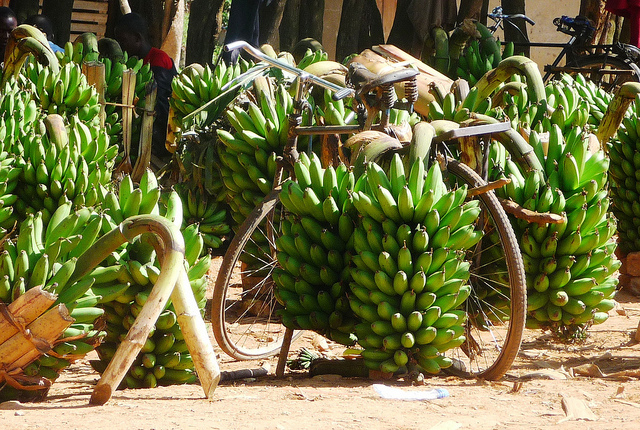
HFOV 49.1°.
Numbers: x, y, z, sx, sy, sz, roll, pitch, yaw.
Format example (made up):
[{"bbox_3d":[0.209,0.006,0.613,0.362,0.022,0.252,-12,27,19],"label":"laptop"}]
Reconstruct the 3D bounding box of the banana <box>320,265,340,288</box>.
[{"bbox_3d":[0.083,0.488,5.261,0.069,0.104,0.264,-31,-30,4],"label":"banana"}]

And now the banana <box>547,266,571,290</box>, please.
[{"bbox_3d":[1.838,0.497,5.397,0.081,0.112,0.305,-5,-14,5],"label":"banana"}]

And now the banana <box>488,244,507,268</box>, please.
[{"bbox_3d":[1.397,0.331,5.527,0.036,0.165,0.090,-20,9,-37],"label":"banana"}]

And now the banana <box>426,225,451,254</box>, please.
[{"bbox_3d":[0.826,0.178,4.968,0.091,0.276,0.091,2,49,-16],"label":"banana"}]

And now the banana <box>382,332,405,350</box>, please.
[{"bbox_3d":[0.517,0.893,4.924,0.063,0.088,0.160,16,10,40],"label":"banana"}]

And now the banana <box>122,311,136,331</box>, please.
[{"bbox_3d":[-1.318,0.744,4.844,0.077,0.156,0.112,1,9,-30],"label":"banana"}]

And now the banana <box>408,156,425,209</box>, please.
[{"bbox_3d":[0.677,-0.219,5.030,0.084,0.379,0.123,1,-8,-12],"label":"banana"}]

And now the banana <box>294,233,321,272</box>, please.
[{"bbox_3d":[-0.087,0.292,5.222,0.082,0.262,0.068,-26,-15,-30],"label":"banana"}]

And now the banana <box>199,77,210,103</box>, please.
[{"bbox_3d":[-1.292,-1.366,7.905,0.073,0.317,0.105,-6,-5,7],"label":"banana"}]

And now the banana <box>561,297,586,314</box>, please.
[{"bbox_3d":[1.954,0.710,5.460,0.097,0.076,0.222,26,-13,-13],"label":"banana"}]

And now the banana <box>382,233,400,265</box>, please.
[{"bbox_3d":[0.500,0.233,4.973,0.072,0.270,0.078,-24,17,1],"label":"banana"}]

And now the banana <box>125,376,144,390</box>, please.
[{"bbox_3d":[-1.290,1.172,4.896,0.062,0.128,0.057,-38,16,-19],"label":"banana"}]

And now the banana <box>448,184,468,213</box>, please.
[{"bbox_3d":[0.990,-0.122,5.042,0.071,0.217,0.062,32,31,15],"label":"banana"}]

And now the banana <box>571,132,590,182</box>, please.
[{"bbox_3d":[2.052,-0.448,5.562,0.087,0.382,0.143,0,22,14],"label":"banana"}]

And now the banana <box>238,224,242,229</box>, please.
[{"bbox_3d":[-0.858,0.134,7.534,0.018,0.068,0.064,1,-9,8],"label":"banana"}]

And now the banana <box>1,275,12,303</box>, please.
[{"bbox_3d":[-1.977,0.473,4.436,0.044,0.180,0.055,2,1,-10],"label":"banana"}]

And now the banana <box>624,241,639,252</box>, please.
[{"bbox_3d":[3.473,0.367,7.847,0.046,0.129,0.176,-2,15,-29],"label":"banana"}]

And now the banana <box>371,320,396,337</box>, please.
[{"bbox_3d":[0.445,0.801,4.925,0.178,0.098,0.058,18,-1,-42],"label":"banana"}]

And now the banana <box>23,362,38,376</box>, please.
[{"bbox_3d":[-1.862,1.003,4.533,0.078,0.090,0.032,-3,15,-33],"label":"banana"}]

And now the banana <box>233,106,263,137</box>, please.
[{"bbox_3d":[-0.681,-0.876,6.703,0.073,0.319,0.104,-34,8,24],"label":"banana"}]

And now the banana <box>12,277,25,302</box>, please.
[{"bbox_3d":[-1.902,0.472,4.441,0.047,0.195,0.058,13,-7,-11],"label":"banana"}]

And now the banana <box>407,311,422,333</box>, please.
[{"bbox_3d":[0.656,0.754,4.904,0.074,0.152,0.083,24,14,18],"label":"banana"}]

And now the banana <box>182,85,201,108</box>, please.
[{"bbox_3d":[-1.450,-1.315,7.872,0.228,0.220,0.105,13,15,28],"label":"banana"}]

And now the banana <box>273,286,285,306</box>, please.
[{"bbox_3d":[-0.315,0.624,5.343,0.057,0.051,0.184,-11,-19,-7],"label":"banana"}]

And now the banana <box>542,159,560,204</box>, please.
[{"bbox_3d":[1.818,-0.263,5.578,0.099,0.433,0.164,15,-29,-9],"label":"banana"}]

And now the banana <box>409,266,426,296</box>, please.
[{"bbox_3d":[0.690,0.481,4.948,0.064,0.227,0.076,14,25,5],"label":"banana"}]

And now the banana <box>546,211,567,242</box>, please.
[{"bbox_3d":[1.820,0.110,5.402,0.106,0.334,0.085,1,37,4],"label":"banana"}]

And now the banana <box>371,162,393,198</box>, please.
[{"bbox_3d":[0.444,-0.257,5.034,0.084,0.337,0.116,-12,31,13],"label":"banana"}]

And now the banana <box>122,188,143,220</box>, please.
[{"bbox_3d":[-1.317,-0.060,4.997,0.072,0.290,0.090,26,15,12],"label":"banana"}]

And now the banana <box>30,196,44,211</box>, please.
[{"bbox_3d":[-2.264,-0.079,5.631,0.055,0.187,0.048,-15,3,-11],"label":"banana"}]

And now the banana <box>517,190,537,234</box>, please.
[{"bbox_3d":[1.607,-0.007,5.462,0.083,0.370,0.139,16,-11,5],"label":"banana"}]

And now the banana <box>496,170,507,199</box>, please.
[{"bbox_3d":[1.441,-0.219,5.554,0.066,0.287,0.098,-6,-24,5],"label":"banana"}]

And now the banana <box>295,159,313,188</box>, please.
[{"bbox_3d":[-0.125,-0.294,5.359,0.072,0.295,0.098,-20,14,4],"label":"banana"}]

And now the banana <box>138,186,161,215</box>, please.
[{"bbox_3d":[-1.205,-0.097,4.932,0.052,0.200,0.067,33,12,22],"label":"banana"}]

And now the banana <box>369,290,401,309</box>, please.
[{"bbox_3d":[0.464,0.595,4.930,0.197,0.071,0.056,21,7,-12],"label":"banana"}]

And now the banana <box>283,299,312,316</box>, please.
[{"bbox_3d":[-0.180,0.699,5.293,0.294,0.092,0.107,12,-1,3],"label":"banana"}]

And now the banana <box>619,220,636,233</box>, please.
[{"bbox_3d":[3.409,0.133,7.814,0.063,0.106,0.186,-3,8,-45],"label":"banana"}]

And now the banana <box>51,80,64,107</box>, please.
[{"bbox_3d":[-2.825,-1.301,7.598,0.074,0.316,0.097,7,21,-6],"label":"banana"}]

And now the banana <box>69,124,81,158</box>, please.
[{"bbox_3d":[-2.080,-0.608,5.978,0.093,0.232,0.490,0,15,-20],"label":"banana"}]

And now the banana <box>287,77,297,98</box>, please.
[{"bbox_3d":[-0.260,-1.223,6.771,0.063,0.246,0.052,25,50,5],"label":"banana"}]

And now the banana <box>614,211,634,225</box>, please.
[{"bbox_3d":[3.387,0.032,7.846,0.238,0.065,0.094,35,15,-1],"label":"banana"}]

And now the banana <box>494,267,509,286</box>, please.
[{"bbox_3d":[1.410,0.482,5.450,0.083,0.111,0.200,6,13,3],"label":"banana"}]

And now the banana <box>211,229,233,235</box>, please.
[{"bbox_3d":[-1.116,0.224,8.132,0.300,0.046,0.083,5,14,-28],"label":"banana"}]

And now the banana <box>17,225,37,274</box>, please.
[{"bbox_3d":[-1.889,0.205,4.588,0.089,0.385,0.131,-4,-30,-10],"label":"banana"}]

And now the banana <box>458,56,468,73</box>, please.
[{"bbox_3d":[2.074,-2.156,10.173,0.064,0.303,0.109,-10,-7,12],"label":"banana"}]

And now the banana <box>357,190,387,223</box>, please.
[{"bbox_3d":[0.378,-0.049,4.987,0.056,0.215,0.075,-30,16,26],"label":"banana"}]

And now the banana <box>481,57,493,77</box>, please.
[{"bbox_3d":[2.348,-2.050,9.903,0.098,0.341,0.115,-3,-26,17],"label":"banana"}]

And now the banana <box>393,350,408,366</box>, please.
[{"bbox_3d":[0.565,1.018,4.936,0.093,0.123,0.068,7,13,8],"label":"banana"}]

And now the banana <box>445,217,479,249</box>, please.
[{"bbox_3d":[1.009,0.126,5.121,0.158,0.232,0.578,-16,-13,7],"label":"banana"}]

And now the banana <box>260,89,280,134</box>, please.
[{"bbox_3d":[-0.481,-1.007,6.674,0.115,0.499,0.167,-8,27,19],"label":"banana"}]

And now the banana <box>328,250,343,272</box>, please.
[{"bbox_3d":[0.118,0.351,5.194,0.065,0.125,0.219,-13,-12,1],"label":"banana"}]

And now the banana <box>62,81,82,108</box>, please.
[{"bbox_3d":[-2.725,-1.310,7.710,0.057,0.276,0.091,29,-5,-32],"label":"banana"}]
